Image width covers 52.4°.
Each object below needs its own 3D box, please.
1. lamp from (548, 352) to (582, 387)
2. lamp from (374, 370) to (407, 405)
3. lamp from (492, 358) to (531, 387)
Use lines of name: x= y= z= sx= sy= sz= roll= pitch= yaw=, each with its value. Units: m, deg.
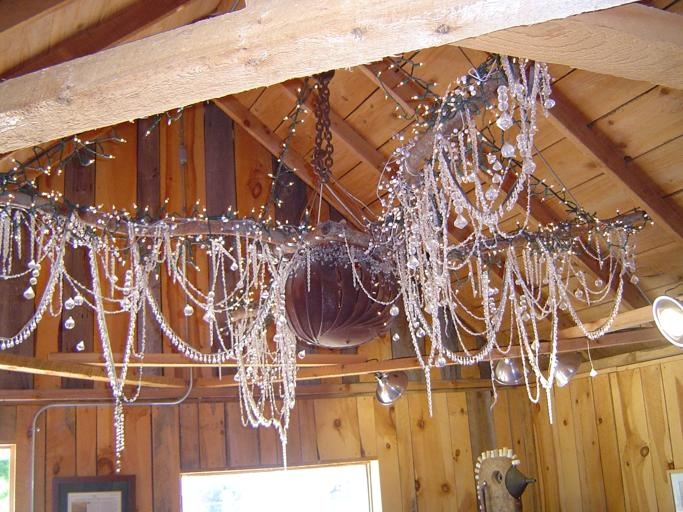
lamp: x=1.470 y=0.731 z=4.525 sx=0.179 sy=0.203 sz=0.170 roll=-14 pitch=-23 yaw=21
lamp: x=0.322 y=0.914 z=4.773 sx=0.205 sy=0.224 sz=0.224 roll=-19 pitch=-30 yaw=21
lamp: x=1.184 y=0.802 z=4.876 sx=0.187 sy=0.178 sz=0.182 roll=-12 pitch=-22 yaw=14
